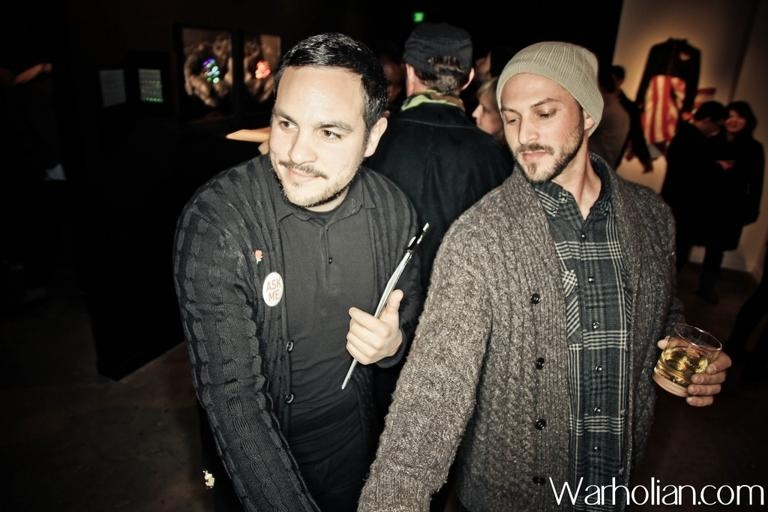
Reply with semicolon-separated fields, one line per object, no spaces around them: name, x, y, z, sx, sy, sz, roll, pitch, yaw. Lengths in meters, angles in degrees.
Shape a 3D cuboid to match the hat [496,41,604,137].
hat;0.911;-0.970;3.273;0.542;0.434;0.394;-2;13;-29
